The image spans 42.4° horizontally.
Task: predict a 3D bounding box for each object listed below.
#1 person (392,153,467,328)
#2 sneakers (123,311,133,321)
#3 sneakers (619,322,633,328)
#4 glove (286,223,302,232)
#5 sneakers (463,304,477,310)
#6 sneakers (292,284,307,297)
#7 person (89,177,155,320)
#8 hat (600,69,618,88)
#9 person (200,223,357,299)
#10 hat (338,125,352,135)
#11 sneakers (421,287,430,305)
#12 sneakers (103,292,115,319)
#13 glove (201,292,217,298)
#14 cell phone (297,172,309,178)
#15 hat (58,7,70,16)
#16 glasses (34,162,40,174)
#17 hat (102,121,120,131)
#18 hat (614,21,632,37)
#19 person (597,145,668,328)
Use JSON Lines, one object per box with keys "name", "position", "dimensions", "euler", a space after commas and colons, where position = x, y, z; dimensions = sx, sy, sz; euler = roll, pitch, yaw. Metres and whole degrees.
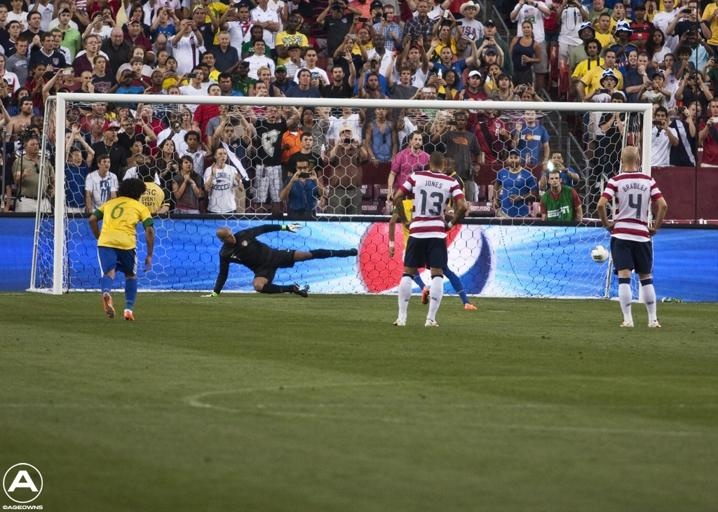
{"name": "person", "position": [0.827, -0.205, 11.343], "dimensions": [0.882, 2.044, 0.601], "euler": [-1, 0, -43]}
{"name": "sneakers", "position": [-2.817, 0.723, 11.235], "dimensions": [0.095, 0.134, 0.134], "euler": [-2, -32, -4]}
{"name": "sneakers", "position": [3.366, 0.864, 11.589], "dimensions": [0.071, 0.068, 0.163], "euler": [-1, 3, -31]}
{"name": "glove", "position": [-1.135, -0.476, 15.939], "dimensions": [0.253, 0.107, 0.098], "euler": [-8, -1, -11]}
{"name": "sneakers", "position": [1.630, 0.753, 13.520], "dimensions": [0.217, 0.088, 0.086], "euler": [1, 7, 20]}
{"name": "sneakers", "position": [-0.962, 0.581, 15.190], "dimensions": [0.214, 0.085, 0.215], "euler": [-2, 15, -18]}
{"name": "person", "position": [-2.982, -0.103, 11.546], "dimensions": [0.782, 1.794, 0.880], "euler": [-1, 0, -15]}
{"name": "hat", "position": [5.067, -3.598, 18.729], "dimensions": [0.306, 0.187, 0.383], "euler": [-1, -13, 12]}
{"name": "person", "position": [-1.247, 0.144, 15.638], "dimensions": [2.582, 1.289, 0.737], "euler": [7, -15, -17]}
{"name": "hat", "position": [-0.263, -2.261, 16.706], "dimensions": [0.155, 0.203, 0.183], "euler": [-16, 25, -33]}
{"name": "sneakers", "position": [0.922, 0.567, 12.794], "dimensions": [0.078, 0.240, 0.102], "euler": [-1, 18, -12]}
{"name": "sneakers", "position": [-3.168, 0.633, 11.577], "dimensions": [0.117, 0.316, 0.144], "euler": [-8, 8, -5]}
{"name": "glove", "position": [-2.482, 0.655, 15.219], "dimensions": [0.302, 0.118, 0.101], "euler": [4, -3, 1]}
{"name": "cell phone", "position": [-0.954, -1.378, 15.934], "dimensions": [0.127, 0.086, 0.088], "euler": [0, -5, -2]}
{"name": "hat", "position": [-6.131, -5.005, 19.031], "dimensions": [0.198, 0.144, 0.256], "euler": [-2, -3, -30]}
{"name": "glasses", "position": [-5.584, -1.512, 15.915], "dimensions": [0.132, 0.189, 0.072], "euler": [-1, 0, 41]}
{"name": "hat", "position": [-4.358, -2.259, 16.234], "dimensions": [0.318, 0.166, 0.220], "euler": [-1, 1, -37]}
{"name": "hat", "position": [5.696, -4.879, 19.852], "dimensions": [0.327, 0.174, 0.439], "euler": [2, -8, 12]}
{"name": "person", "position": [3.492, -0.240, 11.717], "dimensions": [0.856, 2.104, 0.539], "euler": [-1, 0, -4]}
